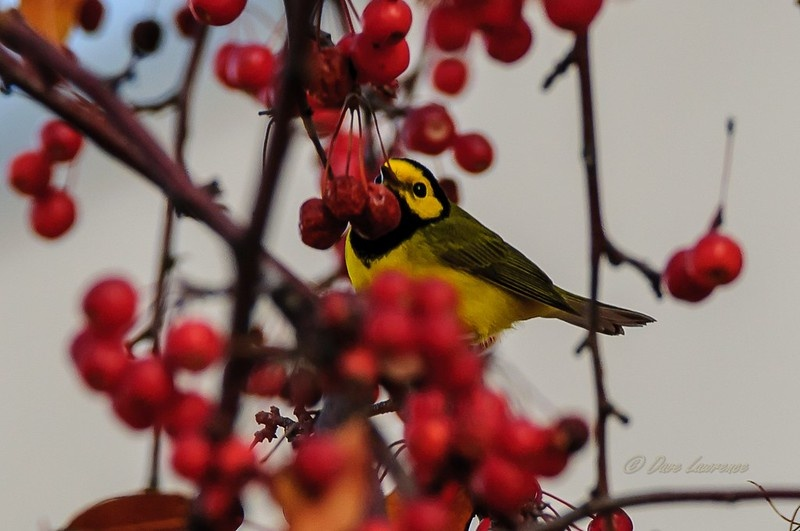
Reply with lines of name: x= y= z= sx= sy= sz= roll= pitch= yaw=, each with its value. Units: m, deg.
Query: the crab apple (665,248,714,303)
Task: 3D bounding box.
crab apple: x=0.393 y=0.012 z=2.002 sx=0.073 sy=0.083 sz=0.080 roll=-5 pitch=13 yaw=-14
